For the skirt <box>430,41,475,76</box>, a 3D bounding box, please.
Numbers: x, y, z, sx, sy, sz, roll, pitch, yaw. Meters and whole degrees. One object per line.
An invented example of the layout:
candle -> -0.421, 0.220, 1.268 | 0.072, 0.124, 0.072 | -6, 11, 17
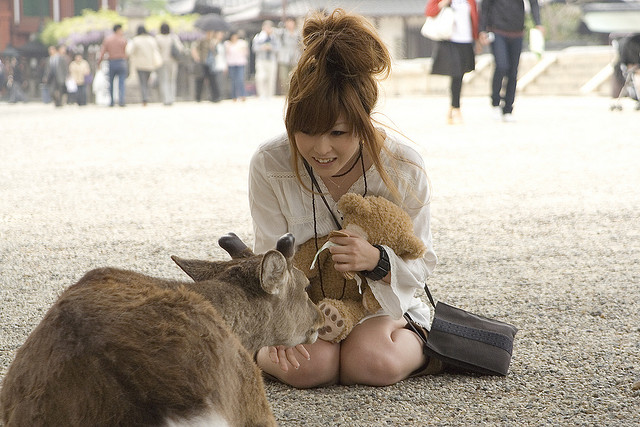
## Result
skirt -> 2.060, -2.417, 14.165 | 0.682, 0.530, 0.426 | 1, 19, 9

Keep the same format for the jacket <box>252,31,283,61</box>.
jacket -> -1.246, -4.050, 22.017 | 0.692, 0.817, 1.338 | -1, 19, 0

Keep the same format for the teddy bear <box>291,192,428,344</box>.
teddy bear -> 0.301, 0.468, 7.445 | 0.993, 1.191, 1.272 | -1, -2, 3

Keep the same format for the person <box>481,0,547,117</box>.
person -> 2.993, -2.401, 14.404 | 0.913, 1.938, 1.249 | 3, 19, 13

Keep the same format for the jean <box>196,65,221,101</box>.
jean -> -2.716, -3.224, 22.213 | 0.508, 0.918, 0.771 | 4, 19, 15

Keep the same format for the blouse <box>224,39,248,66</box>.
blouse -> -2.009, -3.895, 22.079 | 0.502, 0.596, 0.991 | -3, 19, -6

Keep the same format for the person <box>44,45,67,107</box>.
person -> -5.897, -3.080, 20.557 | 0.517, 1.534, 1.229 | -8, 19, -18

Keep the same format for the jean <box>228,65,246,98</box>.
jean -> -2.017, -3.293, 22.482 | 0.358, 0.905, 1.022 | -3, 19, -5

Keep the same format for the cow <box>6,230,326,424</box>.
cow -> -0.993, 0.776, 6.443 | 2.211, 1.260, 0.914 | -13, 8, -33

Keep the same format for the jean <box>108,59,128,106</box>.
jean -> -4.444, -2.898, 20.317 | 0.430, 1.235, 1.228 | -6, 19, -13

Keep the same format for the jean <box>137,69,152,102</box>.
jean -> -3.990, -2.953, 21.039 | 0.286, 0.893, 0.877 | -5, 19, -10

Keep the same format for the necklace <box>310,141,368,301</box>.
necklace -> 0.141, 0.066, 7.100 | 0.341, 1.205, 0.374 | 1, -2, -19

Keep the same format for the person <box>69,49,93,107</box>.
person -> -5.630, -3.215, 21.613 | 0.460, 1.244, 1.340 | -6, 19, -13
